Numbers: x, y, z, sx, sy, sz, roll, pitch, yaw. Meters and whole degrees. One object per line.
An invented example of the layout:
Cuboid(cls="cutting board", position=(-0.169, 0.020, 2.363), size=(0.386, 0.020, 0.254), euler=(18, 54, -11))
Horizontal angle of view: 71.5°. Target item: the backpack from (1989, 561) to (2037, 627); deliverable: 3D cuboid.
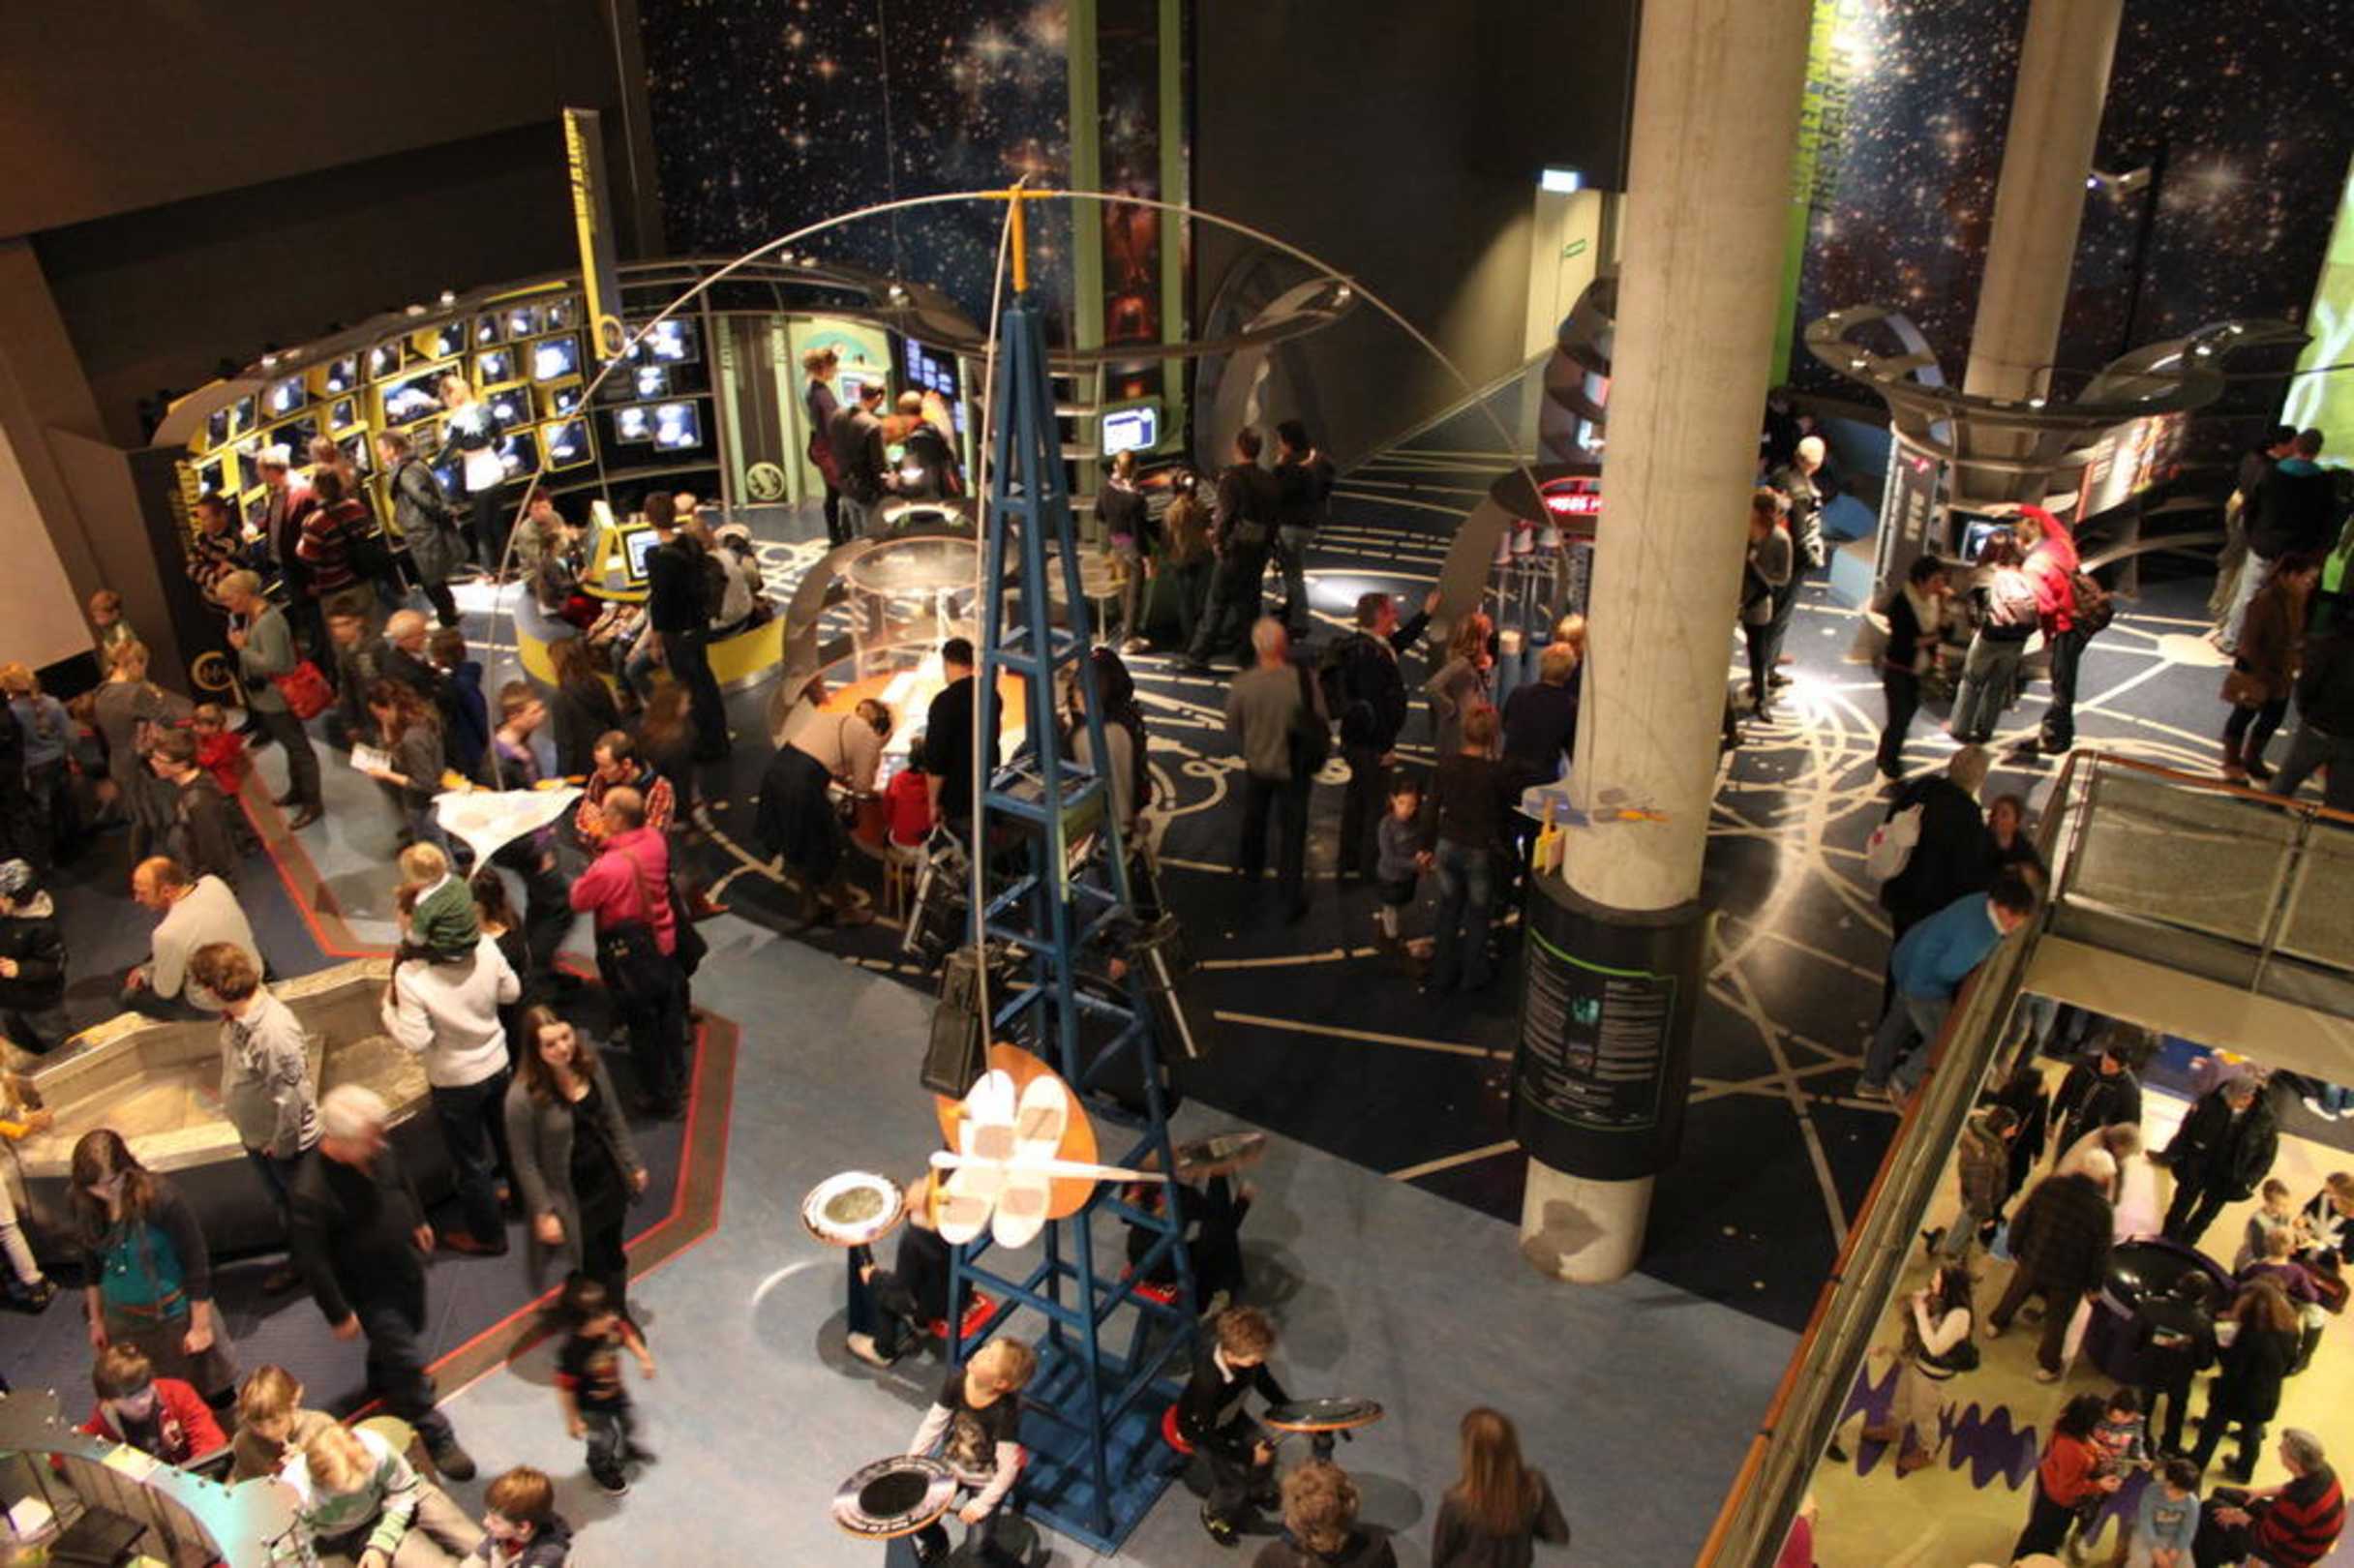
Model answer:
Cuboid(cls="backpack", position=(6.480, -1.486, 12.738), size=(0.338, 0.436, 0.425), euler=(1, 2, 5))

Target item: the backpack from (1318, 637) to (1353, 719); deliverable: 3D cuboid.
Cuboid(cls="backpack", position=(1.142, -0.758, 11.672), size=(0.161, 0.434, 0.430), euler=(1, 1, -17))

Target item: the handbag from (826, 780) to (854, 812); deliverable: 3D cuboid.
Cuboid(cls="handbag", position=(-2.397, 0.085, 11.725), size=(0.124, 0.175, 0.060), euler=(17, 26, 13))

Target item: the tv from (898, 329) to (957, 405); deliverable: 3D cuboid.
Cuboid(cls="tv", position=(-2.344, -4.038, 15.721), size=(0.122, 0.550, 0.945), euler=(-29, 40, -33))

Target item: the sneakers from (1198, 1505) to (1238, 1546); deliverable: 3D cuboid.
Cuboid(cls="sneakers", position=(0.229, 3.689, 8.147), size=(0.190, 0.129, 0.118), euler=(1, 25, 5))

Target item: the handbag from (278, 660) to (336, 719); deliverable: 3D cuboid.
Cuboid(cls="handbag", position=(-6.578, -0.729, 12.397), size=(0.255, 0.450, 0.335), euler=(8, 44, 47))

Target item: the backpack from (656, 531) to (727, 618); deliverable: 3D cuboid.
Cuboid(cls="backpack", position=(-3.793, -1.651, 12.793), size=(0.325, 0.567, 0.545), euler=(-6, 47, 1))

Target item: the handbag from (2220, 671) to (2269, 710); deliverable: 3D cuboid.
Cuboid(cls="handbag", position=(8.005, -0.717, 12.251), size=(0.130, 0.253, 0.264), euler=(-44, 61, -13))
